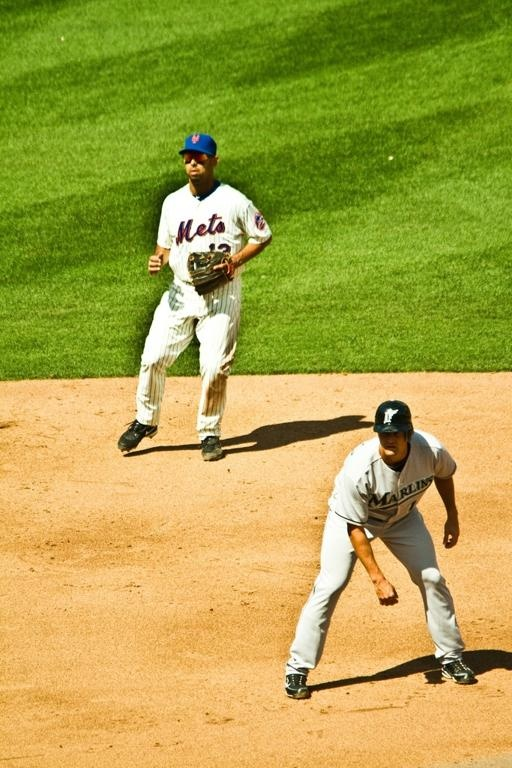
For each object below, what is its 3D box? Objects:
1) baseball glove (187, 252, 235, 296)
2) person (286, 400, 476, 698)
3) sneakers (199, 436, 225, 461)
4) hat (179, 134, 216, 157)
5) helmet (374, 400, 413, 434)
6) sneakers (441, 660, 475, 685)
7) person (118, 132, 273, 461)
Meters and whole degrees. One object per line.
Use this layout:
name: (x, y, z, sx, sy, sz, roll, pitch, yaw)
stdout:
baseball glove: (-0.284, -0.704, 9.055, 0.239, 0.226, 0.133, -3, -13, 7)
person: (0.602, 0.725, 6.772, 0.777, 1.565, 0.843, -4, 22, -12)
sneakers: (-0.286, 0.414, 9.427, 0.086, 0.094, 0.192, -2, 14, -4)
hat: (-0.317, -1.506, 9.066, 0.158, 0.127, 0.225, 7, -5, 28)
helmet: (0.628, 0.146, 6.540, 0.115, 0.103, 0.165, 0, 9, 12)
sneakers: (0.955, 1.346, 6.895, 0.081, 0.092, 0.177, -11, 4, -29)
person: (-0.375, -0.533, 9.297, 0.912, 2.087, 0.497, 1, 13, -1)
